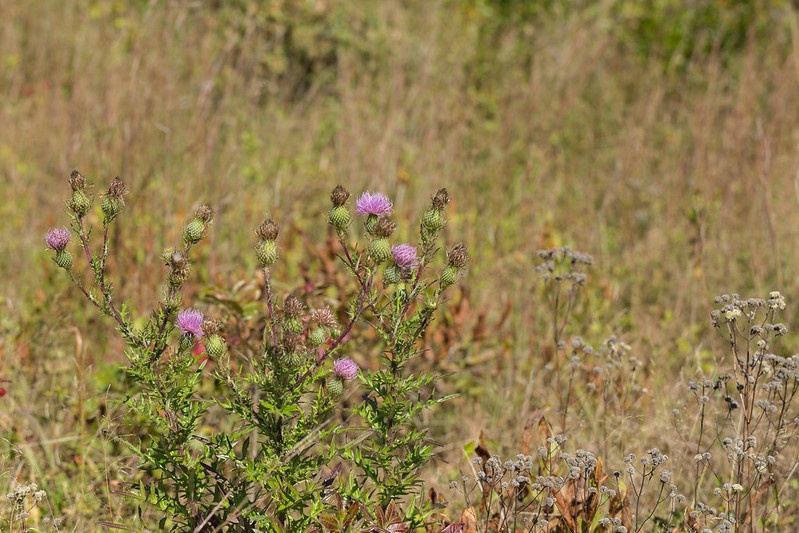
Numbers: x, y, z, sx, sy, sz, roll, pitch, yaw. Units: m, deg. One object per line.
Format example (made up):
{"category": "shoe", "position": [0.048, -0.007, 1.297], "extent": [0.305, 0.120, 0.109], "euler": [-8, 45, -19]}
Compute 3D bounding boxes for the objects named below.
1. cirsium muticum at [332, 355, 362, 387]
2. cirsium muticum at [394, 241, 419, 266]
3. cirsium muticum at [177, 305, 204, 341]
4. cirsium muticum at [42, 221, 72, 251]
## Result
{"category": "cirsium muticum", "position": [-0.276, 0.552, 7.745], "extent": [0.105, 0.149, 0.120], "euler": [4, 3, 33]}
{"category": "cirsium muticum", "position": [0.032, -0.085, 7.832], "extent": [0.135, 0.104, 0.115], "euler": [4, 34, -4]}
{"category": "cirsium muticum", "position": [-1.144, 0.302, 7.885], "extent": [0.120, 0.164, 0.144], "euler": [10, 19, -13]}
{"category": "cirsium muticum", "position": [-2.044, -0.196, 8.641], "extent": [0.145, 0.194, 0.156], "euler": [-6, 14, -26]}
